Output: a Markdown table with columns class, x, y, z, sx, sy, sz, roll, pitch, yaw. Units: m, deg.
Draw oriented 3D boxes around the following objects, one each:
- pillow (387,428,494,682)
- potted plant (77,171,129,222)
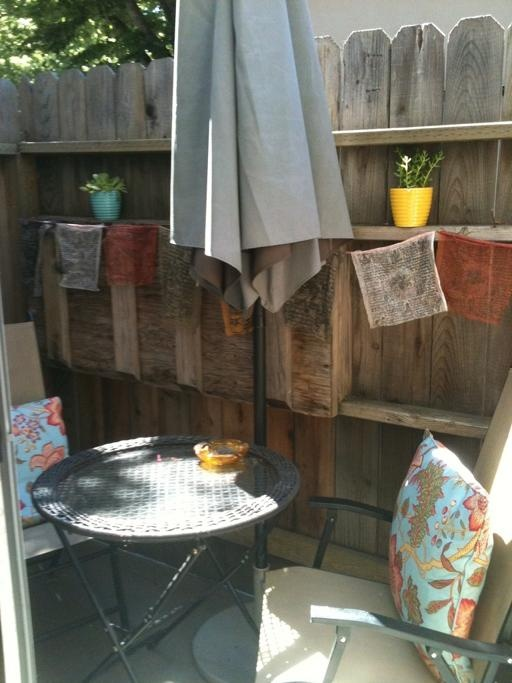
| class | x | y | z | sx | sy | sz | roll | pitch | yaw |
| --- | --- | --- | --- | --- | --- | --- | --- | --- | --- |
| pillow | 0.449 | 0.519 | 1.645 | 0.225 | 0.446 | 0.523 | -1 | 17 | 7 |
| potted plant | -0.693 | -0.666 | 3.056 | 0.185 | 0.197 | 0.193 | -18 | 29 | -41 |
